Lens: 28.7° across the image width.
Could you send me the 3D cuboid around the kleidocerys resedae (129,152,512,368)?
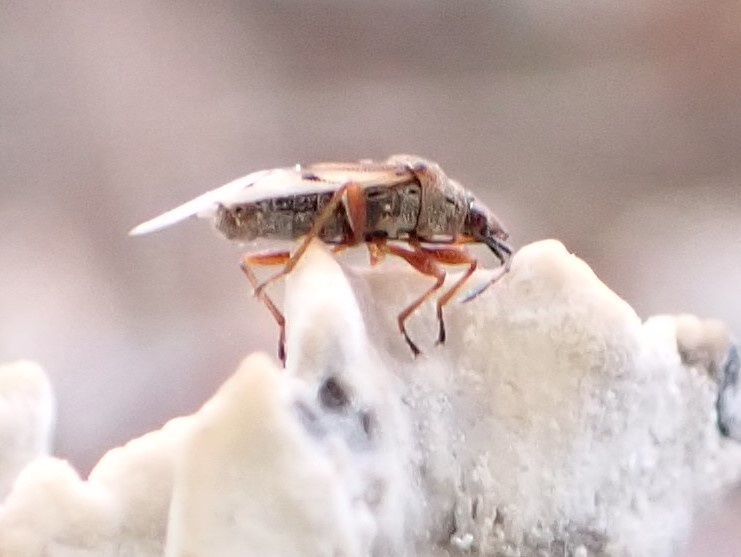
[{"bbox_3d":[-0.023,-0.051,1.837,0.395,0.155,0.334,-2,-21,1],"label":"kleidocerys resedae"}]
